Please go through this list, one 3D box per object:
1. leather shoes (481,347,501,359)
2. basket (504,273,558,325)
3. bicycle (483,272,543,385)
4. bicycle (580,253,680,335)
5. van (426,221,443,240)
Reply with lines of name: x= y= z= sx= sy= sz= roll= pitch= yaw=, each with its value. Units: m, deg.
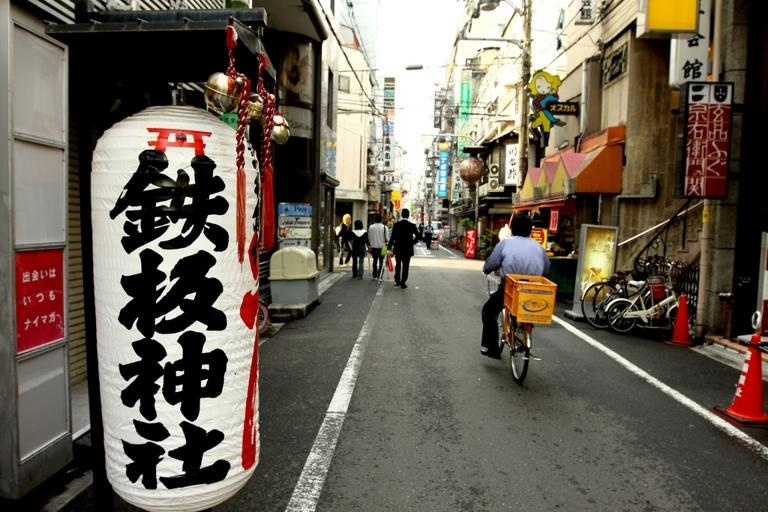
leather shoes: x=1.561 y=1.391 z=9.725 sx=0.331 sy=0.157 sz=0.126 roll=17 pitch=-5 yaw=-12
basket: x=1.871 y=0.546 z=8.806 sx=0.511 sy=0.482 sz=0.712 roll=4 pitch=13 yaw=-7
bicycle: x=1.733 y=1.177 z=9.218 sx=0.623 sy=0.912 sz=1.441 roll=5 pitch=-2 yaw=-3
bicycle: x=4.533 y=0.746 z=12.371 sx=1.934 sy=1.319 sz=1.029 roll=-1 pitch=4 yaw=2
van: x=4.128 y=-2.058 z=53.541 sx=1.047 sy=1.183 sz=2.051 roll=0 pitch=-4 yaw=0
